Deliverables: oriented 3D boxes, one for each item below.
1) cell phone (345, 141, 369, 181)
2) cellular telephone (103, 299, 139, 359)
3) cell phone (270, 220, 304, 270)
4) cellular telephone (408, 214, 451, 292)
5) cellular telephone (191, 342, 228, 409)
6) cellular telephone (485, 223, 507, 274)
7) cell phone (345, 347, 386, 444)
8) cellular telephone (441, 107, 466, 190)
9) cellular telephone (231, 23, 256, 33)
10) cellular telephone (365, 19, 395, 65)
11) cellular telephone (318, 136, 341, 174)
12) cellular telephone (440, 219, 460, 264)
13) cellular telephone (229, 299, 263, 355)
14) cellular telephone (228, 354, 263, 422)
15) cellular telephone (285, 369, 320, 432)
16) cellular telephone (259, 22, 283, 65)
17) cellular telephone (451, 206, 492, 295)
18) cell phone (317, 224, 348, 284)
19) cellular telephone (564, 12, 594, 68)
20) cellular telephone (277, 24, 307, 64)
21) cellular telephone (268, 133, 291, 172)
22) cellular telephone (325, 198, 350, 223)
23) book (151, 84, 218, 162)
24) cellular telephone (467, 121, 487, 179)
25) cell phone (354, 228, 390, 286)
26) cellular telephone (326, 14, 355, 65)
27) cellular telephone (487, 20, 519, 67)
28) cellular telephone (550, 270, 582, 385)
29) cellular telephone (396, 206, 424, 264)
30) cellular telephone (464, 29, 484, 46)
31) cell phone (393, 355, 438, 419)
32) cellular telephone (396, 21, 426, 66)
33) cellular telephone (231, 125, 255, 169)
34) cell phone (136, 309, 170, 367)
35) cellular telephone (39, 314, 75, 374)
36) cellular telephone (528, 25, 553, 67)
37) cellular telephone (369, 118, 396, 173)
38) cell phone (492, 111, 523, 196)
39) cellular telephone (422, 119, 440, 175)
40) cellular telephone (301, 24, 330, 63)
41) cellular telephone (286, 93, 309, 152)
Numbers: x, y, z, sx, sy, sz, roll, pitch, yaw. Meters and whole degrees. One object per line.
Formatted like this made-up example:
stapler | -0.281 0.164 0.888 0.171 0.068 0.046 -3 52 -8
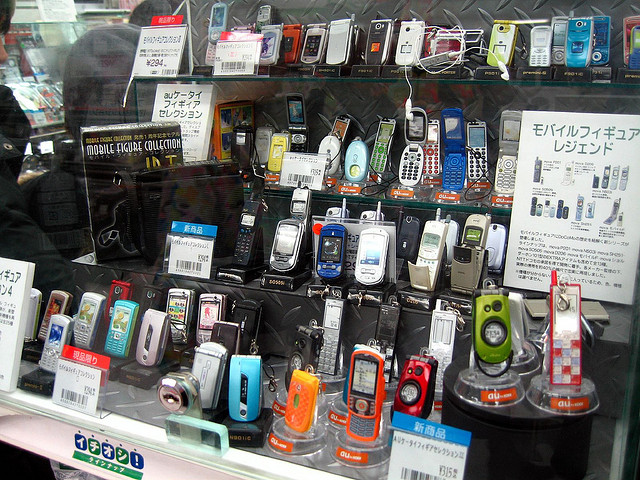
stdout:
cell phone | 0.163 -0.361 2.042 0.108 0.206 0.050 1 45 2
cellular telephone | -0.789 0.361 1.764 0.123 0.214 0.081 3 13 16
cell phone | -0.138 0.021 1.859 0.120 0.240 0.068 5 -28 8
cellular telephone | 0.411 0.059 1.687 0.101 0.250 0.127 8 16 37
cellular telephone | -0.383 0.467 1.536 0.102 0.219 0.048 -1 -11 18
cellular telephone | 0.682 0.032 1.719 0.093 0.184 0.045 12 11 30
cell phone | 0.142 0.495 1.403 0.116 0.269 0.111 0 13 7
cellular telephone | 0.567 -0.393 1.878 0.107 0.331 0.151 2 13 15
cellular telephone | -0.360 -1.000 2.084 0.110 0.043 0.083 1 19 -2
cellular telephone | 0.253 -0.849 1.879 0.119 0.196 0.116 1 13 9
cellular telephone | 0.050 -0.408 2.107 0.101 0.175 0.121 -1 13 -1
cellular telephone | 0.521 0.006 1.781 0.085 0.180 0.041 6 0 28
cellular telephone | -0.301 0.356 1.766 0.099 0.204 0.034 8 -6 18
cellular telephone | -0.256 0.522 1.528 0.122 0.213 0.120 4 -14 -12
cellular telephone | -0.050 0.519 1.442 0.097 0.191 0.041 5 -8 38
cellular telephone | -0.220 -0.901 2.024 0.101 0.186 0.128 -1 13 0
cellular telephone | 0.566 0.034 1.657 0.104 0.303 0.163 7 15 33
cell phone | 0.050 0.055 1.781 0.111 0.214 0.121 1 13 11
cellular telephone | 0.969 -0.761 1.665 0.089 0.227 0.035 6 -4 26
cellular telephone | -0.136 -0.931 2.080 0.136 0.202 0.044 8 -3 11
cellular telephone | -0.196 -0.449 2.200 0.098 0.206 0.046 6 -9 26
cellular telephone | 0.084 -0.121 1.922 0.120 0.140 0.078 4 6 24
book | -0.657 -0.580 2.191 0.337 0.466 0.049 9 5 24
cellular telephone | 0.681 -0.395 1.922 0.088 0.234 0.163 3 14 18
cell phone | 0.207 0.062 1.732 0.123 0.202 0.156 2 13 14
cellular telephone | 0.088 -0.873 1.934 0.111 0.203 0.133 2 13 15
cellular telephone | 0.725 -0.795 1.750 0.118 0.236 0.059 3 -7 16
cellular telephone | 0.686 0.249 1.228 0.090 0.308 0.080 1 13 9
cellular telephone | 0.391 -0.021 1.919 0.137 0.245 0.064 9 4 19
cellular telephone | 0.621 -0.827 1.789 0.061 0.077 0.137 4 15 21
cell phone | 0.323 0.496 1.463 0.129 0.213 0.130 7 -18 17
cellular telephone | 0.371 -0.812 1.808 0.112 0.190 0.119 2 13 15
cellular telephone | -0.416 -0.437 2.315 0.132 0.231 0.142 11 -29 -27
cell phone | -0.655 0.388 1.727 0.127 0.206 0.072 4 13 21
cellular telephone | -1.011 0.404 1.714 0.115 0.193 0.115 6 14 27
cellular telephone | 0.838 -0.743 1.679 0.076 0.175 0.215 5 15 24
cellular telephone | 0.297 -0.446 2.073 0.087 0.321 0.057 7 -19 22
cell phone | 0.750 -0.362 1.774 0.095 0.349 0.129 5 -18 28
cellular telephone | 0.499 -0.419 1.977 0.073 0.233 0.116 2 13 13
cellular telephone | -0.010 -0.902 2.010 0.145 0.179 0.080 6 15 29
cellular telephone | -0.111 -0.596 2.222 0.111 0.284 0.123 -2 13 -2
